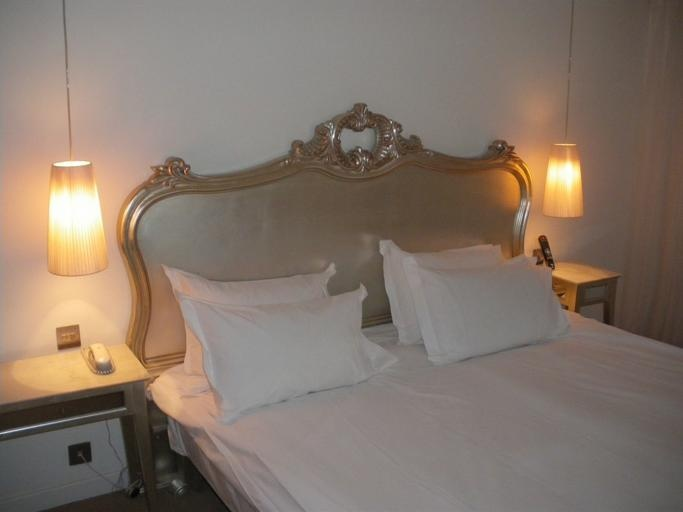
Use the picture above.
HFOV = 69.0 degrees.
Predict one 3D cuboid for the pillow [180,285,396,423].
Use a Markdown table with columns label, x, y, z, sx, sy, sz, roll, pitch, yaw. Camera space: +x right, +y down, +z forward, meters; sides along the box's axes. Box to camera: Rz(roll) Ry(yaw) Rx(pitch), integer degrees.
| label | x | y | z | sx | sy | sz | roll | pitch | yaw |
| --- | --- | --- | --- | --- | --- | --- | --- | --- | --- |
| pillow | -0.250 | 0.393 | 2.363 | 0.934 | 0.507 | 0.347 | -8 | 10 | -21 |

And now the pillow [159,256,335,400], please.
| label | x | y | z | sx | sy | sz | roll | pitch | yaw |
| --- | --- | --- | --- | --- | --- | --- | --- | --- | --- |
| pillow | -0.481 | 0.364 | 2.367 | 0.617 | 0.438 | 0.142 | -7 | -20 | -40 |

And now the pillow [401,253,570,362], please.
| label | x | y | z | sx | sy | sz | roll | pitch | yaw |
| --- | --- | --- | --- | --- | --- | --- | --- | --- | --- |
| pillow | 0.773 | 0.248 | 2.633 | 0.810 | 0.558 | 0.232 | -7 | -19 | -14 |

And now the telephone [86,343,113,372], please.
| label | x | y | z | sx | sy | sz | roll | pitch | yaw |
| --- | --- | --- | --- | --- | --- | --- | --- | --- | --- |
| telephone | -1.108 | 0.479 | 2.290 | 0.089 | 0.049 | 0.198 | -1 | 28 | -31 |

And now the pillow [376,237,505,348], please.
| label | x | y | z | sx | sy | sz | roll | pitch | yaw |
| --- | --- | --- | --- | --- | --- | --- | --- | --- | --- |
| pillow | 0.484 | 0.181 | 2.811 | 0.630 | 0.642 | 0.173 | -3 | -10 | -30 |
